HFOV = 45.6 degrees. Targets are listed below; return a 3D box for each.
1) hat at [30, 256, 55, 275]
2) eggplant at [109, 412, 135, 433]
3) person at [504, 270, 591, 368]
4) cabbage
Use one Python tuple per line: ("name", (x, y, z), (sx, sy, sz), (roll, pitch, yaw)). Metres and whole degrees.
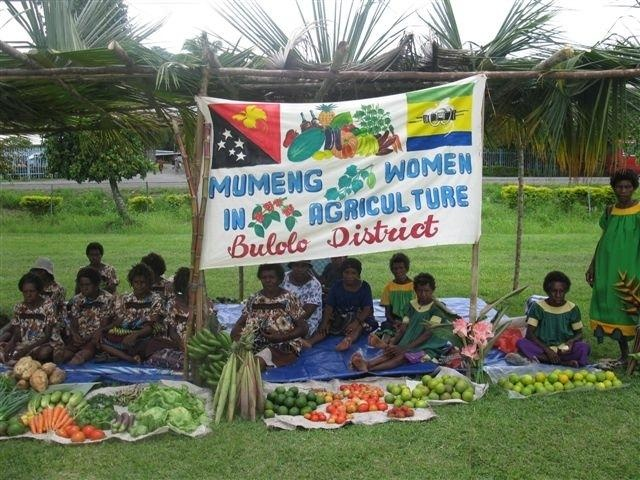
("hat", (-4.749, 0.437, 13.046), (0.298, 0.193, 0.276), (21, -21, -24))
("eggplant", (-2.345, 2.176, 9.102), (0.177, 0.095, 0.231), (-9, 13, -3))
("person", (3.421, 1.060, 10.956), (1.604, 1.241, 1.132), (0, 2, -38))
("cabbage", (-1.848, 2.036, 9.213), (0.950, 0.499, 0.553), (-1, 2, -11))
